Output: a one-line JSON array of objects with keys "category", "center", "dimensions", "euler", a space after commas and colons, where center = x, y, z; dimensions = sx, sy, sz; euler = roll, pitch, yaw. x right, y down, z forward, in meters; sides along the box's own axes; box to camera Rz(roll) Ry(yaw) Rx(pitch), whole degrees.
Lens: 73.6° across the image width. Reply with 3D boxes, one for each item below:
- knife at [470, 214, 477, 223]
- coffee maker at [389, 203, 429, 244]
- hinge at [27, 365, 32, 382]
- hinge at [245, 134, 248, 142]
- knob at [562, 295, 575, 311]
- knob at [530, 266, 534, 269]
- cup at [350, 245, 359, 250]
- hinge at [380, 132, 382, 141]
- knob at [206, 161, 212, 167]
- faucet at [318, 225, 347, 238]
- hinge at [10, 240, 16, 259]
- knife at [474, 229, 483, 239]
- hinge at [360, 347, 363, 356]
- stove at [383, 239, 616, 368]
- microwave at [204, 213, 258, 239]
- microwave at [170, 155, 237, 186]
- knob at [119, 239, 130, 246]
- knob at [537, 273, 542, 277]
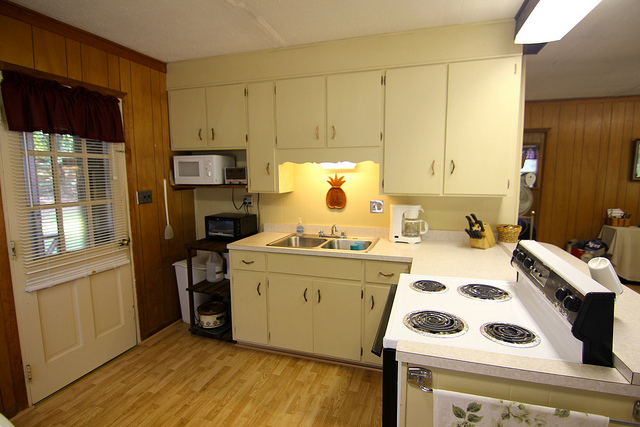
[{"category": "knife", "center": [1.479, 0.042, 4.115], "dimensions": [0.025, 0.091, 0.034], "euler": [-1, -17, -39]}, {"category": "coffee maker", "center": [0.903, 0.093, 4.335], "dimensions": [0.390, 0.379, 0.243], "euler": [1, 9, 13]}, {"category": "hinge", "center": [-2.551, 1.389, 3.742], "dimensions": [0.027, 0.147, 0.015], "euler": [-9, 12, -44]}, {"category": "hinge", "center": [-0.775, -0.781, 4.510], "dimensions": [0.014, 0.064, 0.016], "euler": [6, 13, 38]}, {"category": "knob", "center": [1.554, 0.549, 2.662], "dimensions": [0.052, 0.082, 0.069], "euler": [0, 8, 4]}, {"category": "knob", "center": [1.520, 0.385, 3.066], "dimensions": [0.020, 0.014, 0.011], "euler": [6, 15, 24]}, {"category": "cup", "center": [0.350, 0.338, 4.436], "dimensions": [0.073, 0.050, 0.041], "euler": [0, -2, 11]}, {"category": "hinge", "center": [0.596, -0.755, 4.180], "dimensions": [0.019, 0.072, 0.003], "euler": [-3, 9, -15]}, {"category": "knob", "center": [-1.198, -0.540, 4.580], "dimensions": [0.053, 0.051, 0.017], "euler": [1, 5, 10]}, {"category": "faucet", "center": [0.140, 0.183, 4.585], "dimensions": [0.298, 0.127, 0.140], "euler": [0, 8, 6]}, {"category": "hinge", "center": [-2.632, 0.299, 3.660], "dimensions": [0.021, 0.152, 0.030], "euler": [8, 12, 44]}, {"category": "knife", "center": [1.501, 0.190, 4.044], "dimensions": [0.024, 0.023, 0.096], "euler": [-15, 41, -6]}, {"category": "hinge", "center": [0.396, 1.314, 4.107], "dimensions": [0.024, 0.074, 0.008], "euler": [0, 9, 6]}, {"category": "stove", "center": [1.175, 0.586, 2.999], "dimensions": [1.333, 0.611, 0.732], "euler": [0, 8, 8]}, {"category": "microwave", "center": [-0.989, 0.153, 4.810], "dimensions": [0.566, 0.285, 0.425], "euler": [3, 11, 32]}, {"category": "microwave", "center": [-1.292, -0.485, 4.826], "dimensions": [0.598, 0.335, 0.439], "euler": [3, 6, 29]}, {"category": "knob", "center": [-2.007, 0.293, 4.375], "dimensions": [0.028, 0.069, 0.107], "euler": [5, 10, 33]}, {"category": "knob", "center": [1.523, 0.420, 2.961], "dimensions": [0.030, 0.027, 0.007], "euler": [1, -14, 32]}]
